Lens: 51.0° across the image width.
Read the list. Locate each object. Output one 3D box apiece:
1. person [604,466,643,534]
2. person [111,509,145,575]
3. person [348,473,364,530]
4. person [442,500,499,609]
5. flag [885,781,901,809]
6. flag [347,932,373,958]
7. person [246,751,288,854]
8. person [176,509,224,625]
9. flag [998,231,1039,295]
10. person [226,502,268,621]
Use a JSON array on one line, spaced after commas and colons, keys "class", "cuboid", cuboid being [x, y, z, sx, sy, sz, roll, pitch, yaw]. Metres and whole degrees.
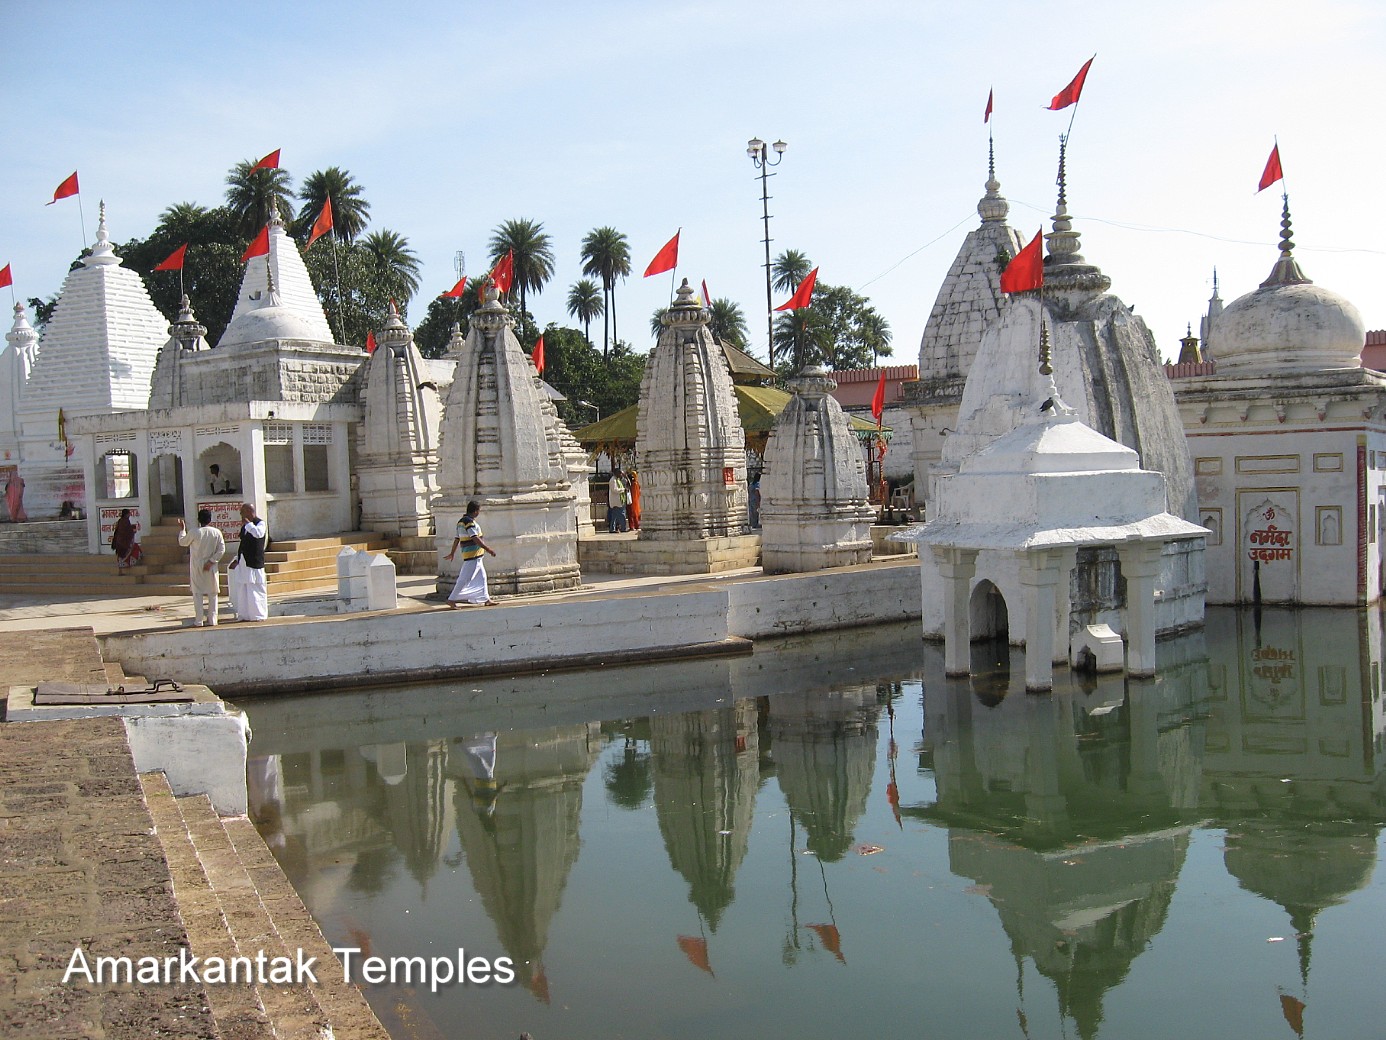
[{"class": "person", "cuboid": [-1.350, -0.338, 28.068, 0.581, 1.748, 0.676, -8, 25, -13]}, {"class": "person", "cuboid": [-8.574, 0.231, 21.934, 0.425, 0.867, 1.491, -5, 13, -22]}, {"class": "person", "cuboid": [-5.681, -0.330, 24.374, 0.237, 0.897, 0.624, -3, 12, -13]}, {"class": "person", "cuboid": [-2.930, 0.416, 19.112, 0.607, 1.491, 2.257, -2, 12, -8]}, {"class": "flag", "cuboid": [1.903, 2.610, 13.759, 0.113, 0.330, 0.098, -16, 31, -12]}, {"class": "flag", "cuboid": [-2.503, 3.149, 10.881, 0.177, 0.025, 0.460, -3, 12, -14]}, {"class": "person", "cuboid": [-3.960, 2.633, 13.444, 0.423, 0.432, 1.787, 12, 5, -20]}, {"class": "person", "cuboid": [-5.769, 0.566, 17.083, 0.441, 1.401, 0.918, -4, 12, -18]}, {"class": "flag", "cuboid": [4.390, -3.360, 19.020, 0.374, 0.735, 0.879, -2, 12, -7]}, {"class": "person", "cuboid": [-5.321, 0.545, 17.321, 0.454, 1.259, 0.743, -5, 12, -19]}]
